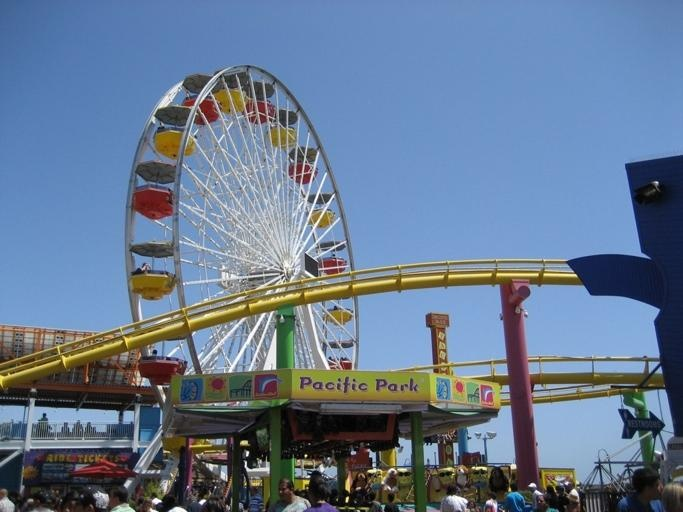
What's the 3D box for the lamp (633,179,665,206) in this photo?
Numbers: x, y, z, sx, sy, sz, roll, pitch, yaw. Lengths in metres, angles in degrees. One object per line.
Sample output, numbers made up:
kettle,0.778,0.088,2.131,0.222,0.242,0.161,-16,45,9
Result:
lamp,6.874,-1.432,16.368,0.269,0.441,0.598,-5,-38,-52
